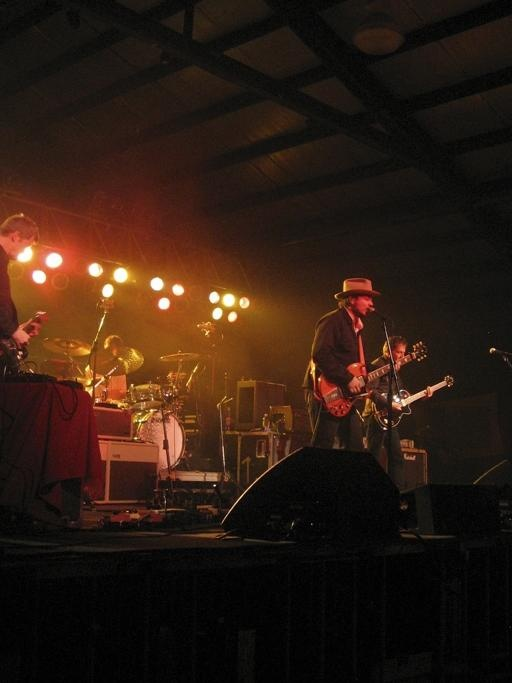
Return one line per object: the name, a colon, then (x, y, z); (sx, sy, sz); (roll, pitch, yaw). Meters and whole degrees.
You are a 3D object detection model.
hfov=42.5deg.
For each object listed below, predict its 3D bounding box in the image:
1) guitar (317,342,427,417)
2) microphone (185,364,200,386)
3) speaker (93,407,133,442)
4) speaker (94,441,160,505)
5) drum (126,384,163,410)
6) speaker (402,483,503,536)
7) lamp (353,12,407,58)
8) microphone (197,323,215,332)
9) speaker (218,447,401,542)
guitar: (0.997, 0.331, 5.626); (0.129, 0.292, 0.966); (-28, -4, 40)
microphone: (-0.836, 0.436, 8.573); (0.087, 0.347, 0.122); (24, 7, -44)
speaker: (-1.315, 0.746, 5.986); (0.310, 0.310, 0.506); (-10, -14, 32)
speaker: (-1.173, 1.231, 6.272); (0.216, 0.612, 0.842); (-6, -16, 23)
drum: (-1.298, 0.632, 7.600); (0.341, 0.219, 0.341); (-4, -18, -1)
speaker: (0.887, 0.706, 2.777); (0.407, 0.210, 0.284); (4, -15, -14)
lamp: (0.803, -2.038, 4.373); (0.327, 0.134, 0.292); (8, -16, -27)
microphone: (-0.670, -0.204, 8.780); (0.198, 0.125, 0.230); (2, -14, -5)
speaker: (0.229, 0.553, 2.336); (0.495, 0.246, 0.414); (9, -14, -24)
